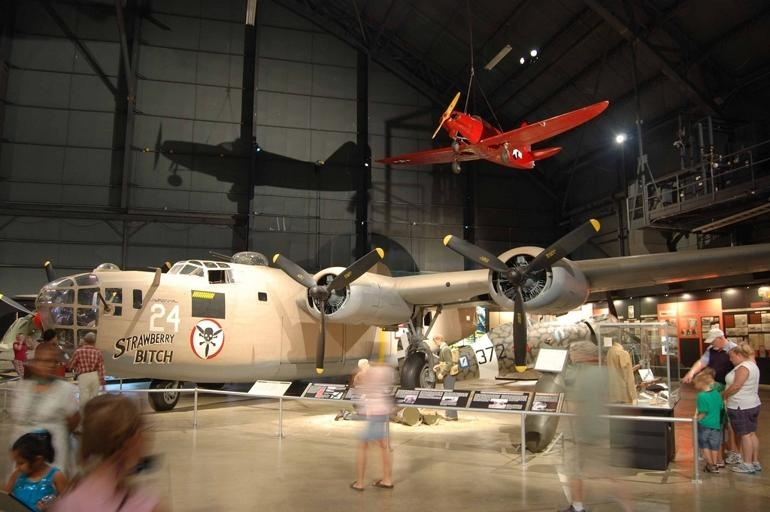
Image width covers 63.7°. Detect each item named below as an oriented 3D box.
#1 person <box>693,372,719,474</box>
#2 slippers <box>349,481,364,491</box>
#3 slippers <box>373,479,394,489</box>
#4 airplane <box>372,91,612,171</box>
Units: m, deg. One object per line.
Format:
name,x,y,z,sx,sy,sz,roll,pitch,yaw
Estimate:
person,6.486,3.285,12.390,0.749,1.961,0.438,8,-13,-37
slippers,-0.540,4.364,11.859,0.288,0.178,0.195,-2,-11,9
slippers,-0.035,4.358,11.877,0.358,0.107,0.148,7,-3,-8
airplane,3.839,-4.341,21.843,7.408,2.191,3.505,-5,-11,22
